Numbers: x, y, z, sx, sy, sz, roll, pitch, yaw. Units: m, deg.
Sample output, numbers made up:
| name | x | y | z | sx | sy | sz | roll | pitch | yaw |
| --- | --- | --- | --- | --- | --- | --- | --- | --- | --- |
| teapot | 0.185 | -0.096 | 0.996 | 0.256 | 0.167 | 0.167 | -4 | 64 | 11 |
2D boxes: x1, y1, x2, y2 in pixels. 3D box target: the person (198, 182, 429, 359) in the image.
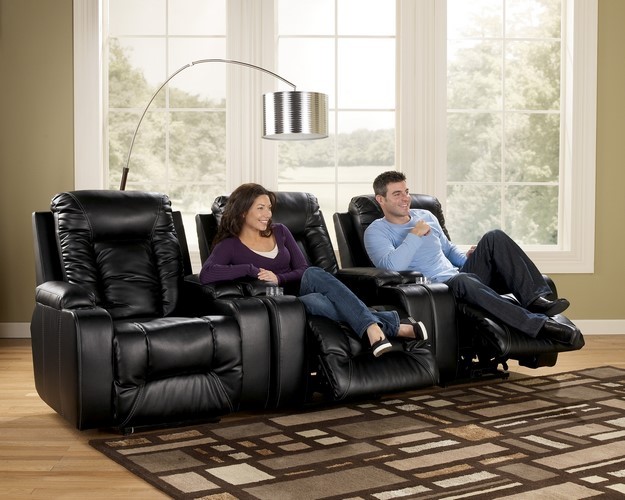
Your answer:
| name | x | y | z | sx | sy | sz | roll | pitch | yaw |
| --- | --- | --- | --- | --- | --- | --- | --- | --- | --- |
| person | -0.001 | 0.122 | 3.201 | 1.220 | 0.657 | 0.770 | 21 | 25 | 33 |

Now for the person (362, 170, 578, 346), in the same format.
| name | x | y | z | sx | sy | sz | roll | pitch | yaw |
| --- | --- | --- | --- | --- | --- | --- | --- | --- | --- |
| person | 0.940 | 0.044 | 3.546 | 0.721 | 0.804 | 1.436 | -21 | 24 | -26 |

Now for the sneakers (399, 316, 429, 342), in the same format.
| name | x | y | z | sx | sy | sz | roll | pitch | yaw |
| --- | --- | --- | --- | --- | --- | --- | --- | --- | --- |
| sneakers | 0.545 | 0.429 | 3.053 | 0.100 | 0.066 | 0.212 | -2 | 10 | -13 |

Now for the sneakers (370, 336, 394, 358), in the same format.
| name | x | y | z | sx | sy | sz | roll | pitch | yaw |
| --- | --- | --- | --- | --- | --- | --- | --- | --- | --- |
| sneakers | 0.343 | 0.491 | 2.881 | 0.073 | 0.057 | 0.138 | -20 | -7 | -20 |

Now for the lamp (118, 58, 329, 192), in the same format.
| name | x | y | z | sx | sy | sz | roll | pitch | yaw |
| --- | --- | --- | --- | --- | --- | --- | --- | --- | --- |
| lamp | -0.699 | -0.693 | 4.102 | 1.797 | 1.294 | 0.338 | 4 | 11 | 21 |
